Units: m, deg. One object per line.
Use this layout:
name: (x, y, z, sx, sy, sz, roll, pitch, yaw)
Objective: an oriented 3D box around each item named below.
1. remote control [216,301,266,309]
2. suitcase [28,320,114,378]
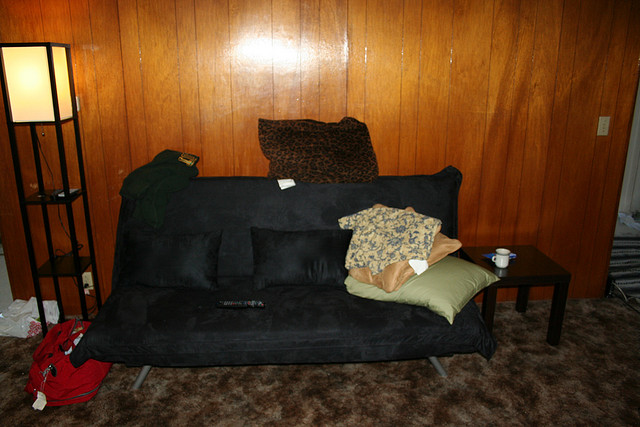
remote control: (-0.533, 0.610, 3.133, 0.322, 0.042, 0.061, 0, 29, -4)
suitcase: (-1.650, 0.940, 3.235, 0.481, 0.298, 0.508, 3, 21, 7)
